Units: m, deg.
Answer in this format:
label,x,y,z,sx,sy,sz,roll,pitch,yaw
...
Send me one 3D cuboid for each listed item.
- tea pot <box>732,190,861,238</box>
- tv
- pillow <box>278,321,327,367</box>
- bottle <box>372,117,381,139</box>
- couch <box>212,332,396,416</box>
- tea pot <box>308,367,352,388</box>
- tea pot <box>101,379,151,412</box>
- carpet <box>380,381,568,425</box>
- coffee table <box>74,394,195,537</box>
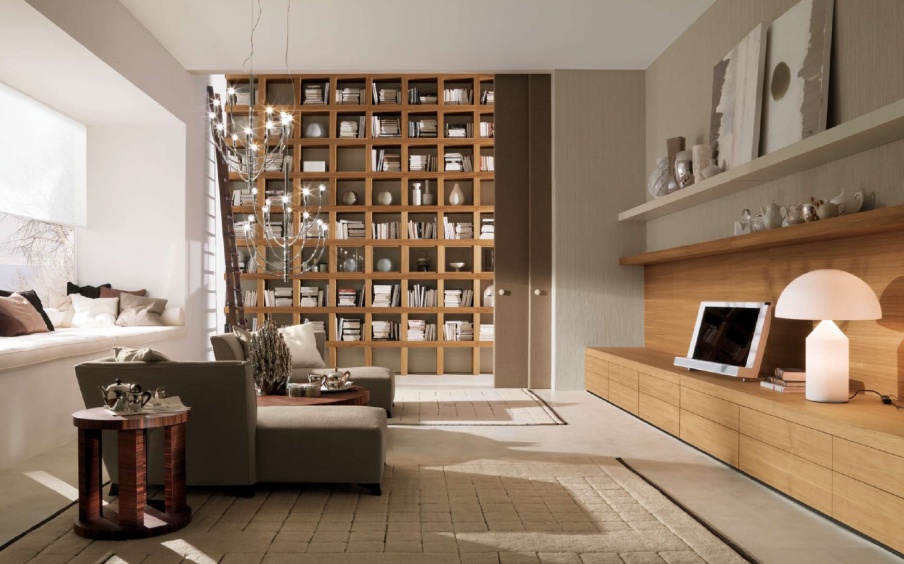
label,x,y,z,sx,sy,sz,roll,pitch,yaw
tea pot,2.879,-0.585,4.803,0.252,0.203,0.664,-17,5,-30
tv,2.514,0.546,5.325,0.411,0.575,0.682,38,-16,-23
pillow,-1.680,0.710,6.458,0.510,0.472,0.233,-7,-8,-40
bottle,-1.118,-2.300,8.539,0.102,0.292,0.120,4,11,23
couch,-1.562,0.936,5.869,1.849,0.970,0.914,0,-1,4
tea pot,-1.116,0.903,5.417,0.226,0.115,0.295,0,-1,40
tea pot,-2.220,0.787,3.945,0.271,0.184,0.215,-1,3,-42
carpet,0.247,1.410,6.760,1.810,0.206,1.837,0,8,-1
coffee table,-2.325,1.338,4.104,0.750,0.767,0.740,4,-24,-39
